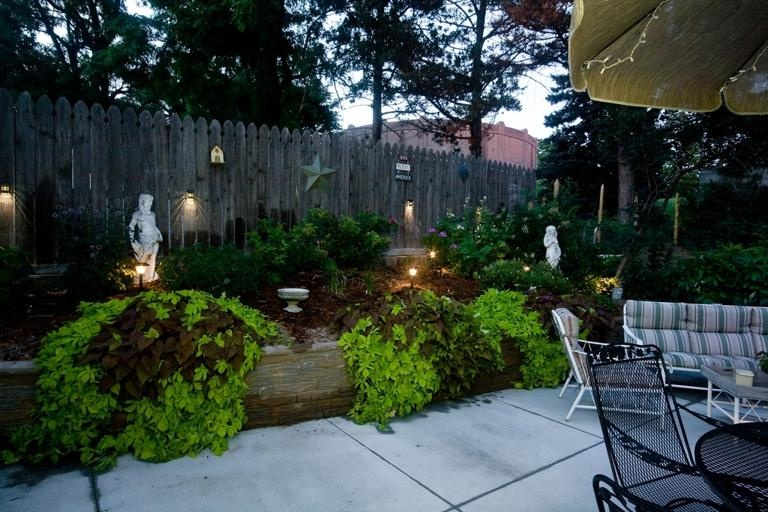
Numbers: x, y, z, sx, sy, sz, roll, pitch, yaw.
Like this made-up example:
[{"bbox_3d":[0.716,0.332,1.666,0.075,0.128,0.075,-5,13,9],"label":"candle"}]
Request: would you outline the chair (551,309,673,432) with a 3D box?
[{"bbox_3d":[3.026,1.478,6.821,1.410,1.479,1.099,4,4,23],"label":"chair"}]
